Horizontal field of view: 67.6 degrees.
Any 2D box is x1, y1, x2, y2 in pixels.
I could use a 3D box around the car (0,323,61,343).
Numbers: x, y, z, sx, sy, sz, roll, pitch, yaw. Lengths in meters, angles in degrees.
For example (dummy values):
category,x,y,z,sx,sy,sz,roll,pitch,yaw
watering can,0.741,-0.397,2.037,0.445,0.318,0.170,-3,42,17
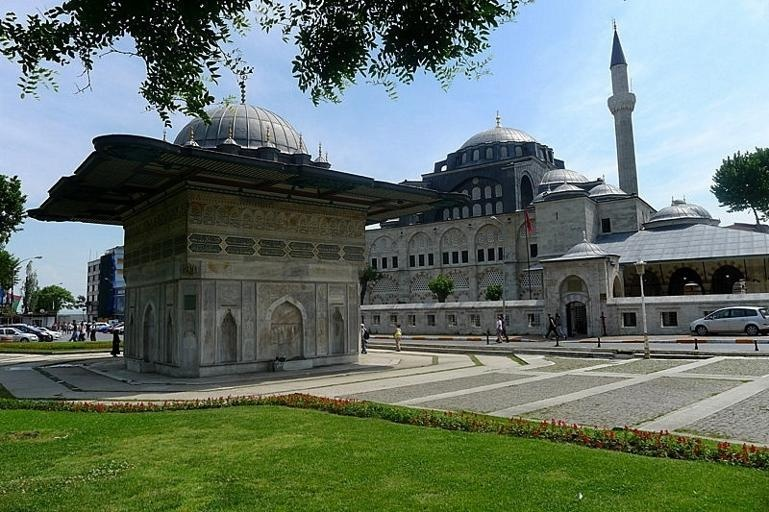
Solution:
category,x,y,z,sx,sy,sz,roll,pitch,yaw
car,-28.784,6.356,46.943,3.281,1.397,3.959,0,-3,-27
